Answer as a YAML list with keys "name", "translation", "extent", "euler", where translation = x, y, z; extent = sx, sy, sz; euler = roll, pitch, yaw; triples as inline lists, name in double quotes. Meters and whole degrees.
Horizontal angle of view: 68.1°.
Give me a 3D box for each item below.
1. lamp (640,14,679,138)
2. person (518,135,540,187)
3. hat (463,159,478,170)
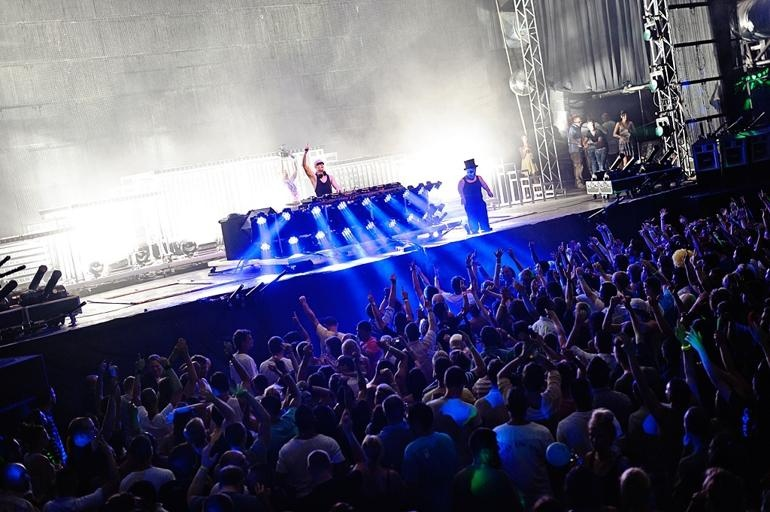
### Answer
- name: "lamp"
  translation: [6.802, -4.461, 14.071]
  extent: [0.631, 3.183, 0.682]
  euler: [-11, 6, 16]
- name: "person"
  translation: [4.831, -3.266, 19.098]
  extent: [0.692, 1.987, 0.831]
  euler: [-4, 51, 10]
- name: "hat"
  translation: [1.869, -2.019, 12.718]
  extent: [0.353, 0.199, 0.289]
  euler: [-17, 3, 33]
